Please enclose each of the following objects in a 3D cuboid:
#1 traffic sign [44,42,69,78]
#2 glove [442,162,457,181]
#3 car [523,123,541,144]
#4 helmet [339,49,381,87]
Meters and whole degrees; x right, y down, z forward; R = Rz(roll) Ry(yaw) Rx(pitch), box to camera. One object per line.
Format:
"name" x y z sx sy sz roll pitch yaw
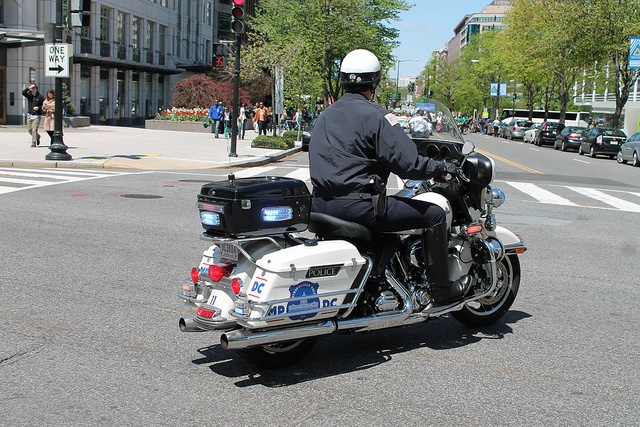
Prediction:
"traffic sign" -9.084 -5.302 18.752 1.104 1.172 0.530 7 12 23
"glove" 1.253 -0.417 5.292 0.188 0.174 0.138 5 -3 -37
"car" 20.038 -7.473 51.014 1.290 1.169 2.349 1 16 9
"helmet" 0.378 -1.390 5.275 0.444 0.425 0.517 2 21 5
